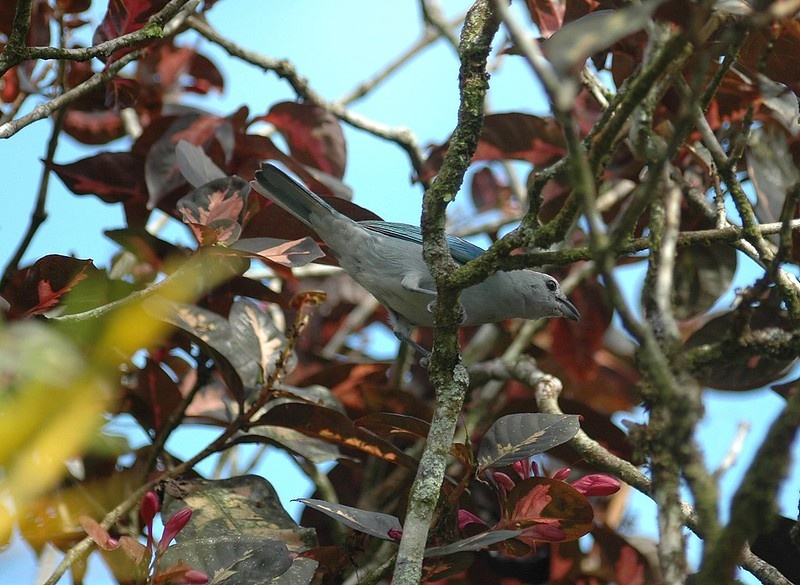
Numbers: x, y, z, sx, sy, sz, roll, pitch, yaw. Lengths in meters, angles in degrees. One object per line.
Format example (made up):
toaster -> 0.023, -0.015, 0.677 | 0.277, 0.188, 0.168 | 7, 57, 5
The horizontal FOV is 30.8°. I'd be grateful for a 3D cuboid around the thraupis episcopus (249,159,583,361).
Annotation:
thraupis episcopus -> 0.035, -0.094, 6.453 | 1.639, 0.449, 0.579 | 22, -78, 22
